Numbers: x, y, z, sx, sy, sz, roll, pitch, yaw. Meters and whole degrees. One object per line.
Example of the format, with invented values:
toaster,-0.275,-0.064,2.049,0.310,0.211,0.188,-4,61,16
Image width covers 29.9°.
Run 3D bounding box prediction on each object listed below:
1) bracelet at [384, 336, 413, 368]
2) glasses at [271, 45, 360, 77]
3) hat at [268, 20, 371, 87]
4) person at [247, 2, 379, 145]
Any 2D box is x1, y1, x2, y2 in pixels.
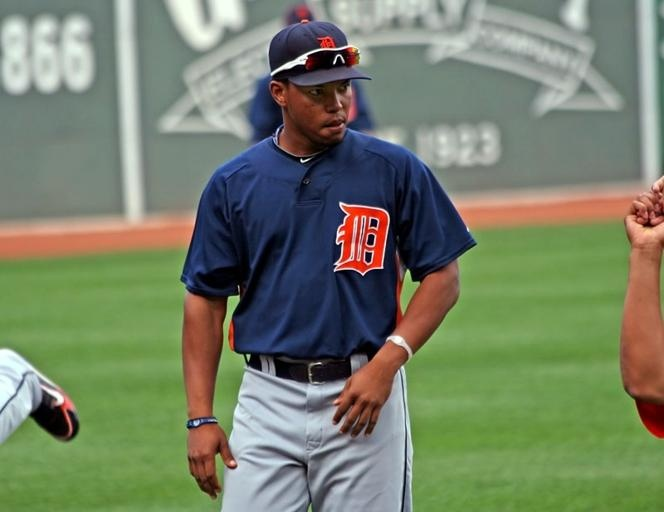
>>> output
bracelet,0.413,0.556,7.105,0.107,0.177,0.179,-6,23,-32
glasses,-0.076,-1.092,7.130,0.257,0.070,0.236,-21,-9,40
hat,-0.084,-1.148,7.136,0.352,0.275,0.479,-11,15,-42
person,-0.313,-1.459,10.826,0.959,1.379,0.636,-3,14,-8
